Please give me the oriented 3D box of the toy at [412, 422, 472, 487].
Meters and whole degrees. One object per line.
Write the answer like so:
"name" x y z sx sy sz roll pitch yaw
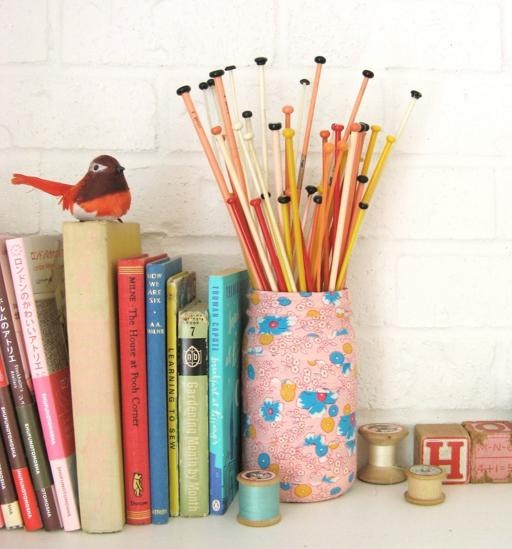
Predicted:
"toy" 0.220 0.208 0.774 0.067 0.054 0.062 0 -1 2
